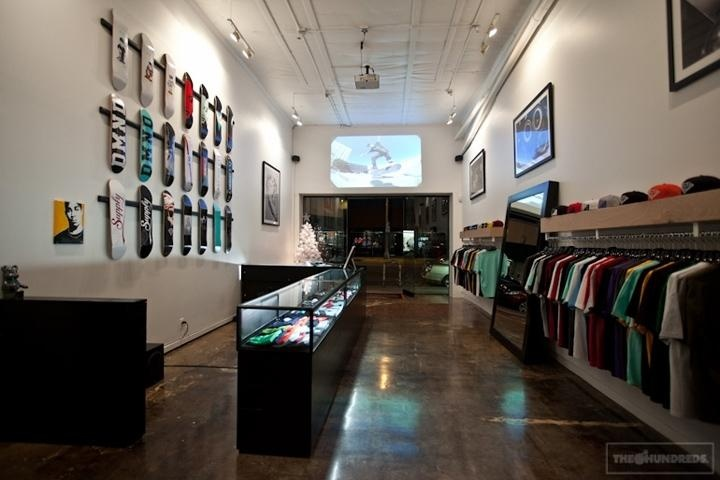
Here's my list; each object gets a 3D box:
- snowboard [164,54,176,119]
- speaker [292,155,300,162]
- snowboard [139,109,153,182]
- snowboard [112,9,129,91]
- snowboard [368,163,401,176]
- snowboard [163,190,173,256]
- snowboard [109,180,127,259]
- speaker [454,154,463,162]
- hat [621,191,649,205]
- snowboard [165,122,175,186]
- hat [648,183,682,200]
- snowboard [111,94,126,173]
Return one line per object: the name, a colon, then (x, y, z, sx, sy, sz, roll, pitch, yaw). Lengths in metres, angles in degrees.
snowboard: (-2.529, -2.028, 6.142, 0.052, 0.840, 0.253, 0, 2, 14)
speaker: (-1.567, -1.968, 11.182, 0.174, 0.157, 0.190, 0, 2, 11)
snowboard: (-2.671, -1.178, 5.739, 0.056, 0.902, 0.190, 0, 2, 27)
snowboard: (-2.826, -2.216, 5.445, 0.072, 0.927, 0.237, 0, 2, 19)
snowboard: (0.661, -1.677, 11.344, 0.895, 0.297, 0.366, -2, 4, 8)
snowboard: (-2.542, -0.208, 6.084, 0.056, 0.865, 0.192, 0, 2, 20)
snowboard: (-2.836, -0.237, 5.394, 0.055, 0.938, 0.208, 0, 2, 23)
speaker: (2.319, -1.926, 10.867, 0.143, 0.120, 0.124, 7, 1, 13)
hat: (2.691, -0.397, 4.519, 0.206, 0.143, 0.132, -1, -1, 33)
snowboard: (-2.529, -1.125, 6.119, 0.078, 0.827, 0.194, 0, 2, 11)
hat: (2.860, -0.458, 4.307, 0.283, 0.149, 0.175, -1, 2, -4)
snowboard: (-2.827, -1.241, 5.421, 0.071, 0.926, 0.231, 0, 2, 19)
